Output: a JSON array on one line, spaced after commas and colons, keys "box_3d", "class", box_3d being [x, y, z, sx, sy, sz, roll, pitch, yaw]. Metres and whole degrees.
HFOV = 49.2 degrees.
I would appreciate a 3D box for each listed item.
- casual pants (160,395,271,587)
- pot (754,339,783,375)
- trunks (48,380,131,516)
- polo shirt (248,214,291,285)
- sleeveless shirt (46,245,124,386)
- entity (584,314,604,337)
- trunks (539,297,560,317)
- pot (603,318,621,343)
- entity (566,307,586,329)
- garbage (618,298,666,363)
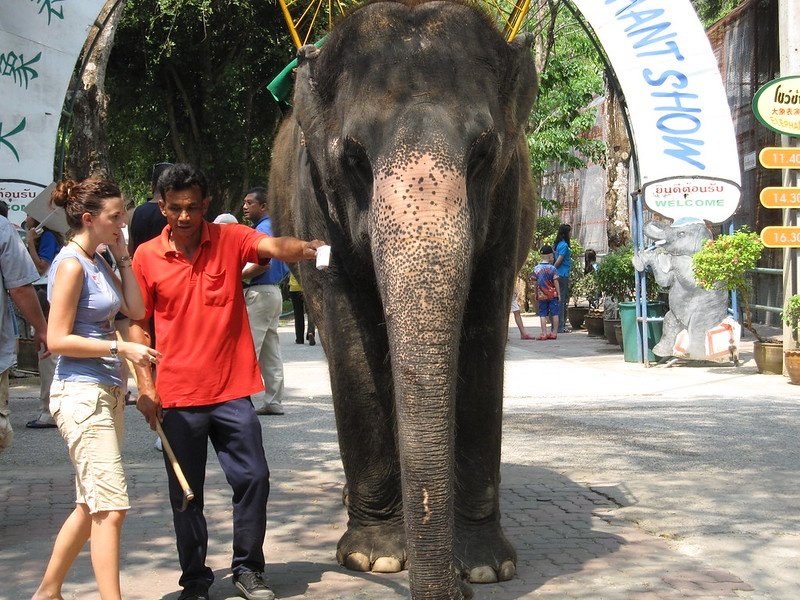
[{"box_3d": [-1.020, 1.069, 4.855, 0.551, 1.046, 0.315, 0, -1, -17], "class": "casual pants"}, {"box_3d": [4.978, 0.820, 12.063, 0.407, 0.378, 0.421, 1, -4, 0], "class": "pot"}, {"box_3d": [-1.612, 0.755, 4.563, 0.367, 0.675, 0.281, 0, -2, -22], "class": "trunks"}, {"box_3d": [-1.257, -0.486, 8.787, 0.459, 0.626, 1.049, 1, -8, -13], "class": "polo shirt"}, {"box_3d": [-1.659, 0.086, 4.660, 0.373, 0.755, 0.283, 0, -2, -22], "class": "sleeveless shirt"}, {"box_3d": [3.995, 0.540, 17.964, 0.403, 0.305, 0.398, -1, -2, -16], "class": "entity"}, {"box_3d": [3.060, 0.161, 18.040, 0.472, 0.375, 0.639, -5, 3, 4], "class": "trunks"}, {"box_3d": [3.873, 0.582, 16.110, 0.393, 0.404, 0.398, -1, 0, 0], "class": "pot"}, {"box_3d": [4.162, 0.438, 20.642, 0.467, 0.433, 0.476, 0, -1, -4], "class": "entity"}, {"box_3d": [3.734, 0.500, 13.754, 0.876, 1.104, 0.853, -1, -1, -6], "class": "garbage"}]
